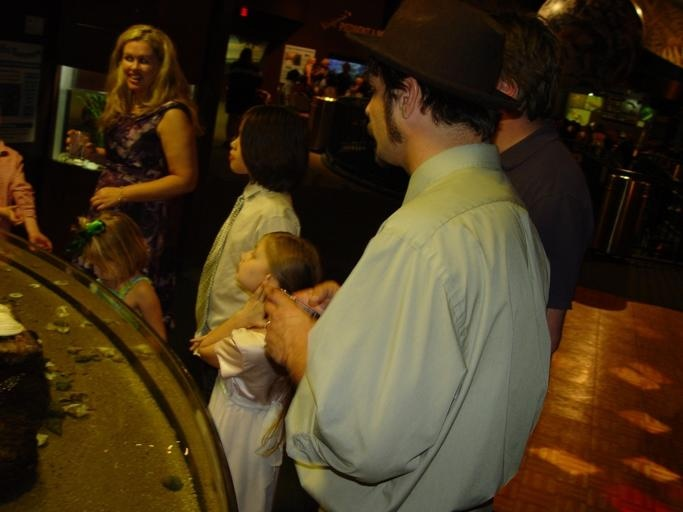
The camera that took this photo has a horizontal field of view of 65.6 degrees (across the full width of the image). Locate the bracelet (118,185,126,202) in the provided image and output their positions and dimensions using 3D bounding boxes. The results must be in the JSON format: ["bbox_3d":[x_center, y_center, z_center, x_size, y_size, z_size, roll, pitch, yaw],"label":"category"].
[{"bbox_3d":[-1.110,-0.308,2.676,0.014,0.054,0.055,0,-25,-6],"label":"bracelet"}]

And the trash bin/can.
[{"bbox_3d":[2.822,-0.419,5.301,0.412,0.829,0.474,16,13,30],"label":"trash bin/can"}]
